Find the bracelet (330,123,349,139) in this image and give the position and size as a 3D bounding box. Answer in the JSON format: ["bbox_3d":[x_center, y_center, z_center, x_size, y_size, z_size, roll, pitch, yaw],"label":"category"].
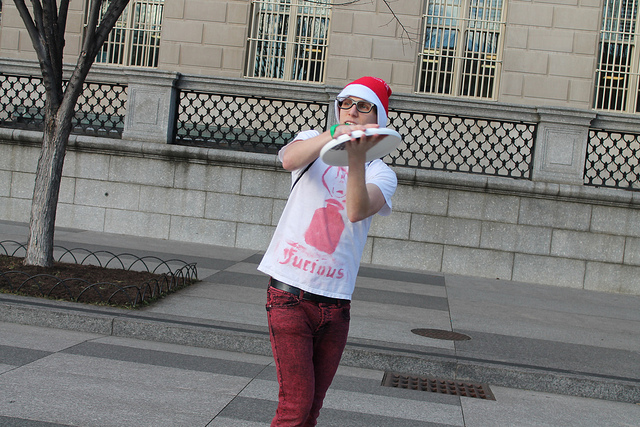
[{"bbox_3d":[0.316,-1.260,17.192,0.196,0.239,0.119,0,3,-7],"label":"bracelet"}]
